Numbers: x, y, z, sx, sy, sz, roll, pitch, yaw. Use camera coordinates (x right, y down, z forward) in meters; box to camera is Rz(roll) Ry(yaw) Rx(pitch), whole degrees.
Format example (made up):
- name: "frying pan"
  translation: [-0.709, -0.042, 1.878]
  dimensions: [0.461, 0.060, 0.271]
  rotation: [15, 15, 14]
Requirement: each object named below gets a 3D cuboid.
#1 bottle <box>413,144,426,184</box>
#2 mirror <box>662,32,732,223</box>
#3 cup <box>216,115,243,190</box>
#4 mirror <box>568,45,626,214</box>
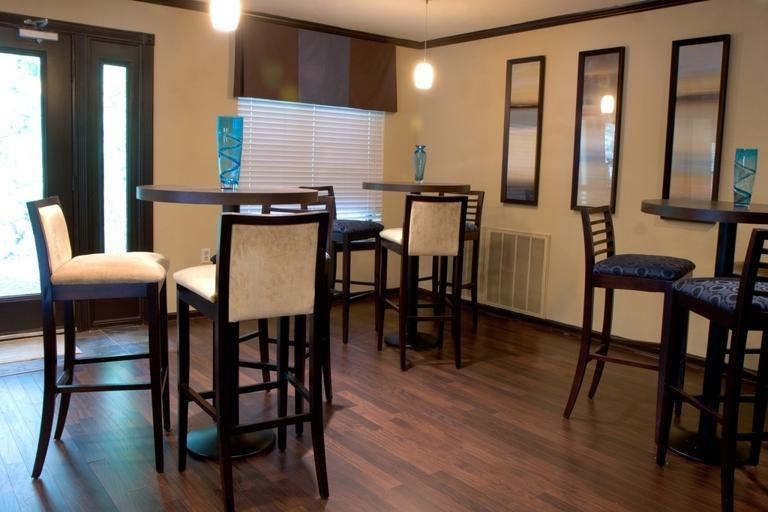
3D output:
- name: "bottle"
  translation: [0.324, -0.845, 5.371]
  dimensions: [0.088, 0.322, 0.204]
  rotation: [2, 12, 6]
- name: "mirror"
  translation: [2.555, -1.042, 4.835]
  dimensions: [0.431, 1.409, 0.043]
  rotation: [14, 32, 42]
- name: "cup"
  translation: [-0.934, -0.626, 3.528]
  dimensions: [0.160, 0.424, 0.122]
  rotation: [0, 12, -4]
- name: "mirror"
  translation: [1.940, -1.138, 5.313]
  dimensions: [0.043, 1.437, 0.432]
  rotation: [-8, 13, -41]
